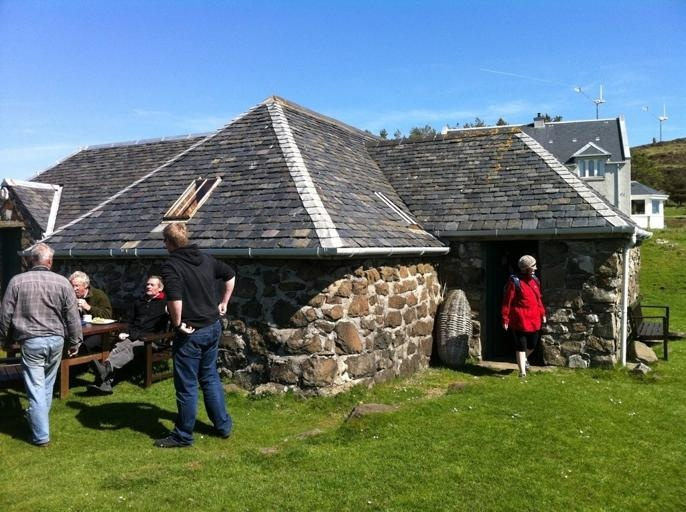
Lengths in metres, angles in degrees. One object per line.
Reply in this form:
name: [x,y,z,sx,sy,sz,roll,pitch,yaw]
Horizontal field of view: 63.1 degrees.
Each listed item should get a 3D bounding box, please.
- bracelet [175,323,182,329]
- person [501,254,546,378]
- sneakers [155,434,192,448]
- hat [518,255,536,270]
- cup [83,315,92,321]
bracelet: [-1.997,0.853,6.759,0.069,0.049,0.069,4,-2,-25]
person: [3.259,1.122,10.164,0.783,2.254,0.522,3,10,4]
sneakers: [-2.174,2.403,7.150,0.380,0.142,0.197,9,-8,3]
hat: [3.304,0.089,10.091,0.266,0.284,0.255,-2,-24,35]
cup: [-4.092,1.002,8.931,0.104,0.071,0.100,0,-7,0]
